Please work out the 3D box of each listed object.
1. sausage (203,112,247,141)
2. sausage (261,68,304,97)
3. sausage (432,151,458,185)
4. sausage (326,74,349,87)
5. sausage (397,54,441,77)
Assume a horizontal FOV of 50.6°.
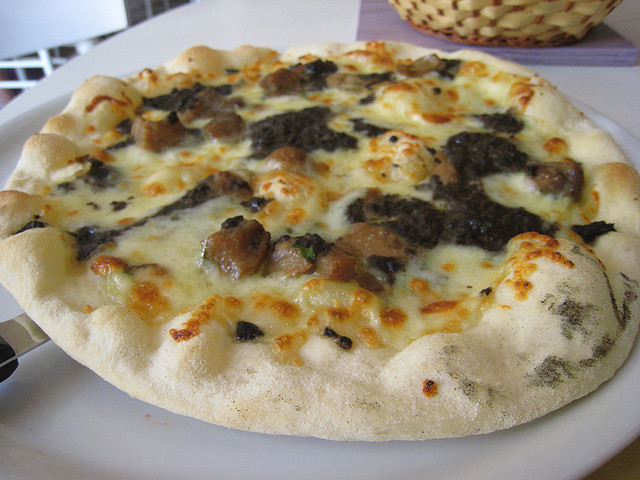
[{"bbox_3d":[-0.538,-0.648,3.876,0.217,0.054,0.192,-27,48,-28],"label":"sausage"},{"bbox_3d":[-0.227,-0.970,4.213,0.233,0.070,0.206,-10,36,-14],"label":"sausage"},{"bbox_3d":[0.665,-0.378,3.586,0.145,0.042,0.170,-7,53,-6],"label":"sausage"},{"bbox_3d":[0.096,-1.021,4.328,0.127,0.026,0.116,20,32,29],"label":"sausage"},{"bbox_3d":[0.642,-1.105,4.333,0.267,0.046,0.158,-26,46,-12],"label":"sausage"}]
